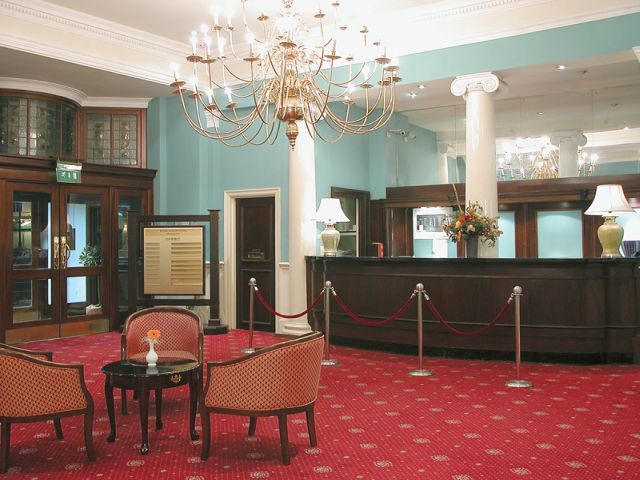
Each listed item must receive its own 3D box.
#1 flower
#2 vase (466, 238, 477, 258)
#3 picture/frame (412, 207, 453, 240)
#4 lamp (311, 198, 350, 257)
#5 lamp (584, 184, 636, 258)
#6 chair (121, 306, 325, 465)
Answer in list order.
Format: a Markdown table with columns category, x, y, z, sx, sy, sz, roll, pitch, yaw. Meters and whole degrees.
| category | x | y | z | sx | sy | sz | roll | pitch | yaw |
| --- | --- | --- | --- | --- | --- | --- | --- | --- | --- |
| flower | 2.427 | -0.238 | 7.761 | 0.824 | 0.712 | 0.541 | -1 | 1 | -17 |
| vase | 2.361 | 0.116 | 7.635 | 0.168 | 0.289 | 0.132 | 0 | 1 | 19 |
| picture/frame | 2.717 | -0.268 | 11.667 | 0.931 | 0.918 | 0.655 | -1 | -4 | 21 |
| lamp | 0.211 | -0.272 | 9.394 | 0.654 | 1.089 | 1.338 | -1 | 1 | 2 |
| lamp | 4.313 | -0.305 | 7.327 | 0.878 | 1.098 | 0.536 | -2 | 2 | -45 |
| chair | -0.977 | 1.323 | 5.053 | 2.424 | 1.073 | 1.357 | 0 | 1 | 43 |
